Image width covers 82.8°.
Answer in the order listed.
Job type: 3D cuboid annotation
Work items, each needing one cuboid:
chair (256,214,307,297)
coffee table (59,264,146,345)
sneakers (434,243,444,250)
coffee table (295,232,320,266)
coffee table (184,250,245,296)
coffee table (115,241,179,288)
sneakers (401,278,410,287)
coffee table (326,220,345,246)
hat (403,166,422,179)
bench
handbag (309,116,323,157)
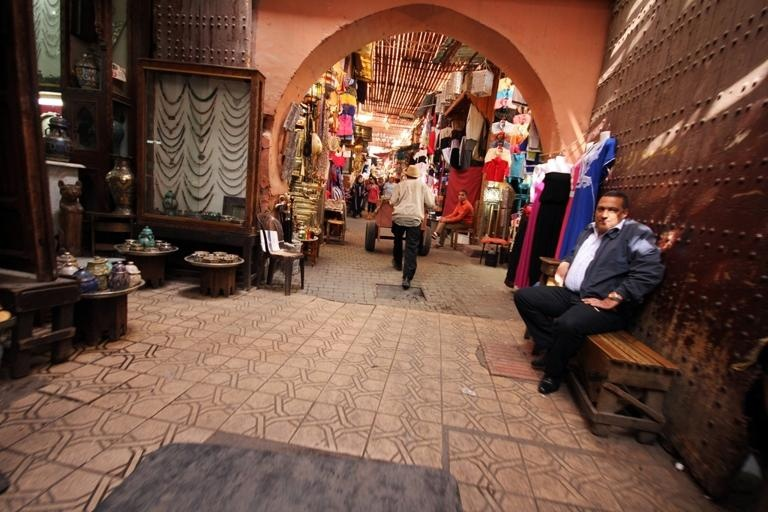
[{"bbox_3d":[-1.638,-0.100,6.946,0.741,1.160,1.078,1,14,-19],"label":"chair"},{"bbox_3d":[-3.067,0.501,4.834,0.767,0.504,0.788,7,6,42],"label":"coffee table"},{"bbox_3d":[1.622,-0.303,12.834,0.168,0.166,0.393,-1,-6,5],"label":"sneakers"},{"bbox_3d":[-1.433,-0.148,8.047,0.226,0.313,0.629,5,8,6],"label":"coffee table"},{"bbox_3d":[-2.391,0.207,6.220,0.688,0.407,0.708,10,13,28],"label":"coffee table"},{"bbox_3d":[-3.312,0.021,6.263,0.772,0.499,0.781,6,12,10],"label":"coffee table"},{"bbox_3d":[0.386,0.465,7.631,0.114,0.151,0.151,1,-2,-3],"label":"sneakers"},{"bbox_3d":[-1.282,-0.675,11.574,0.580,0.585,0.575,0,2,0],"label":"coffee table"},{"bbox_3d":[0.519,-1.582,8.102,0.246,0.104,0.275,5,21,-19],"label":"hat"},{"bbox_3d":[2.362,1.282,4.385,0.705,0.809,0.737,7,14,5],"label":"bench"},{"bbox_3d":[-1.362,-2.423,8.864,0.201,0.702,0.795,4,14,-7],"label":"handbag"}]
